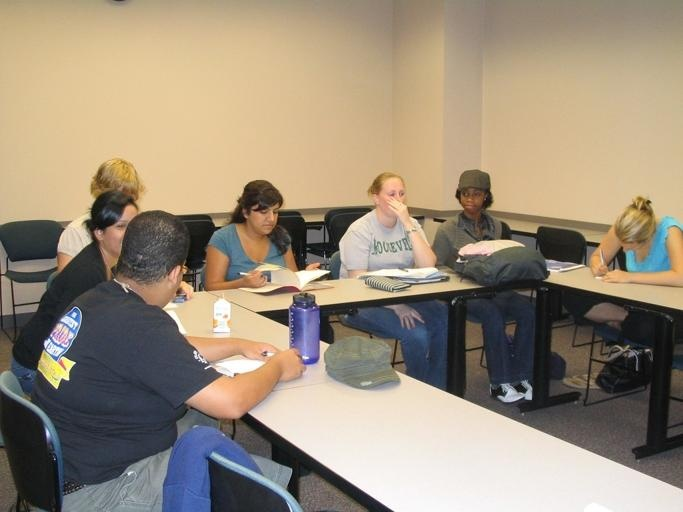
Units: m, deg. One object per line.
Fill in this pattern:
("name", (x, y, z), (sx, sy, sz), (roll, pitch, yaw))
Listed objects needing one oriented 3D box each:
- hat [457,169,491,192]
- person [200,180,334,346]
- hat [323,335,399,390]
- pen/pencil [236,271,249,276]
("hat", (0.957, -0.534, 3.886), (0.143, 0.100, 0.197), (2, -3, 33))
("person", (-0.456, 0.078, 3.328), (0.646, 0.971, 1.013), (-10, 14, -42))
("hat", (0.044, 0.356, 1.893), (0.158, 0.081, 0.203), (-7, 12, -35))
("pen/pencil", (-0.573, 0.096, 3.169), (0.014, 0.010, 0.085), (-9, -8, 14))
